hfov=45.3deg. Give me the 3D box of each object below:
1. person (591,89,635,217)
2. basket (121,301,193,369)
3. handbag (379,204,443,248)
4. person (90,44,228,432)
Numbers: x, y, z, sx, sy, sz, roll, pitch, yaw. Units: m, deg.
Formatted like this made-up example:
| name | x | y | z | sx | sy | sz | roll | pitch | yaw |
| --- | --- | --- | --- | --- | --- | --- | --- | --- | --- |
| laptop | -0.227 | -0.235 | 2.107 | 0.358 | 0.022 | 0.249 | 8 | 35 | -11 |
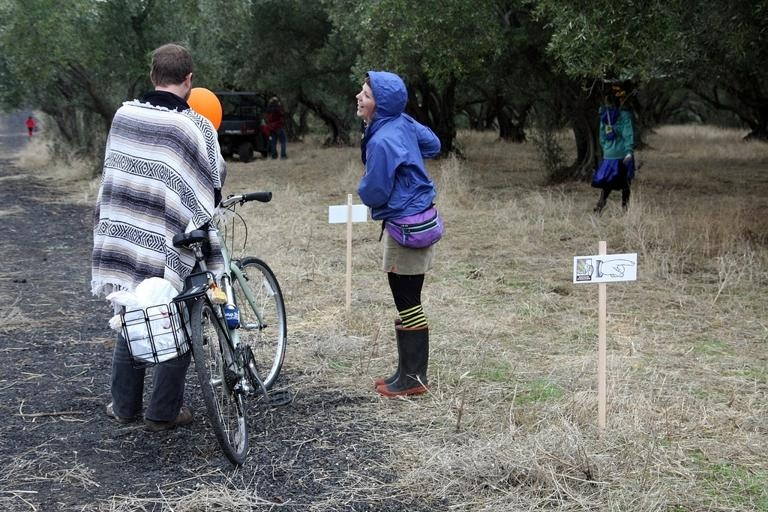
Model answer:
| name | x | y | z | sx | sy | sz | roll | pitch | yaw |
| --- | --- | --- | --- | --- | --- | --- | --- | --- | --- |
| person | 3.756 | -1.719 | 15.032 | 0.656 | 2.058 | 0.841 | 1 | 12 | 13 |
| basket | -2.297 | 0.707 | 9.203 | 0.593 | 0.587 | 0.609 | -11 | 12 | -22 |
| handbag | 0.297 | -0.367 | 10.277 | 0.642 | 0.347 | 0.777 | -12 | 26 | -11 |
| person | -2.336 | -0.152 | 9.388 | 1.388 | 3.877 | 0.842 | -5 | 12 | -16 |
